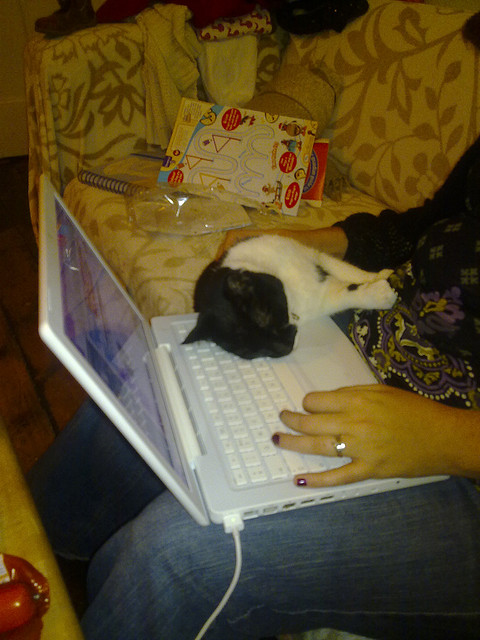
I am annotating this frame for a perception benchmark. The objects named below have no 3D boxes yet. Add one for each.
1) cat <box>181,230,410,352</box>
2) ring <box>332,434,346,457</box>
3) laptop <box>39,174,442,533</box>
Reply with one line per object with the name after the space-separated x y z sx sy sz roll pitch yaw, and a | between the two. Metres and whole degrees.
0.063 -0.036 0.688 0.257 0.075 0.162 -8 77 -27 | cat
0.101 0.130 0.542 0.011 0.013 0.016 -8 42 -21 | ring
-0.012 0.001 0.620 0.414 0.230 0.417 -7 42 -20 | laptop
